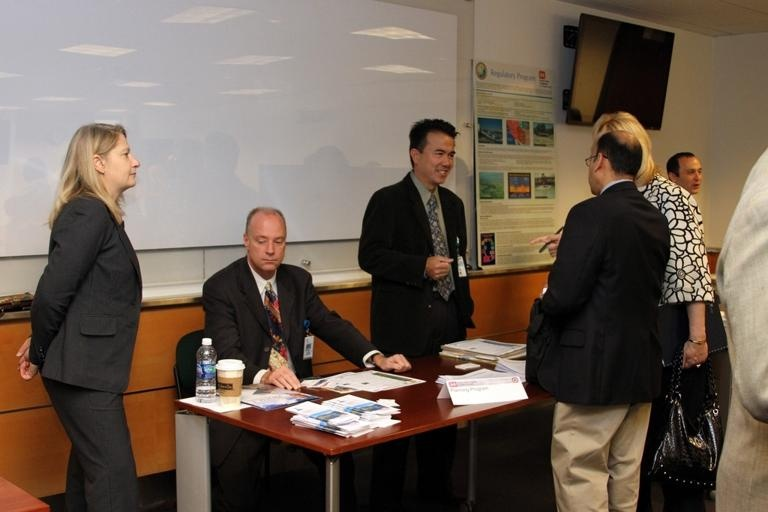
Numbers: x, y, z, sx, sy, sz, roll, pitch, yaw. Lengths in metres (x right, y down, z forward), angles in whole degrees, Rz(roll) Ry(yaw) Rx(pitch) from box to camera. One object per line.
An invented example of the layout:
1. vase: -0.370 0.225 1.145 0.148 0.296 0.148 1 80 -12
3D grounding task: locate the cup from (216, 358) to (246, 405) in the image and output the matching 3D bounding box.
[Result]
1. cup: -0.672 0.541 2.328 0.163 0.208 0.163 -1 -6 0

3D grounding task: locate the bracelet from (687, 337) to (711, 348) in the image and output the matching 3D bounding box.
1. bracelet: 1.758 0.475 2.985 0.105 0.039 0.042 4 12 2

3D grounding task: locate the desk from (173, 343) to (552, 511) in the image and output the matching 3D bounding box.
1. desk: -0.175 0.907 2.431 1.448 0.576 0.739 -2 13 -23
